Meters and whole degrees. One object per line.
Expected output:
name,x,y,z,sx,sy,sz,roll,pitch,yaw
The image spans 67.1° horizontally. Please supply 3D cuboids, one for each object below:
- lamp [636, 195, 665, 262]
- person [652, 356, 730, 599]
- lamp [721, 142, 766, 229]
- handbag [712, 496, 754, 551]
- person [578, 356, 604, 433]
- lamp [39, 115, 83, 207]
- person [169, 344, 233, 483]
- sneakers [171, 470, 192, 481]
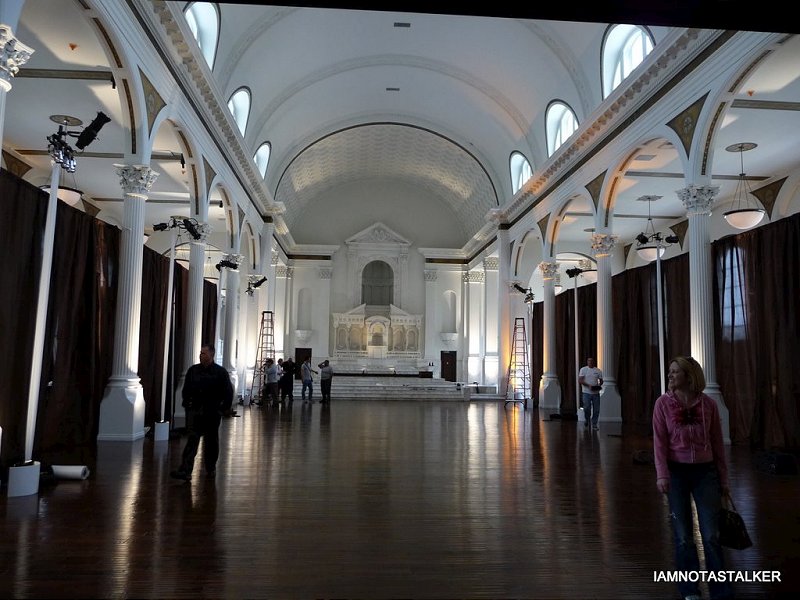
lamp,7.585,-2.194,18.520,0.751,1.920,0.797,4,1,0
person,2.354,1.315,4.903,0.517,1.679,0.305,-5,-16,23
lamp,8.411,-2.774,14.778,0.765,2.005,0.812,-2,-1,-2
handbag,2.631,1.769,4.768,0.211,0.383,0.272,-7,-17,28
person,4.665,2.351,14.759,0.533,1.759,0.956,-3,-16,17
lamp,-6.731,-2.949,12.039,0.707,0.754,1.689,32,-57,-1
person,-2.643,1.538,8.226,0.657,1.805,0.536,6,-15,-18
sneakers,-2.849,2.285,7.875,0.249,0.167,0.328,7,-17,-17
